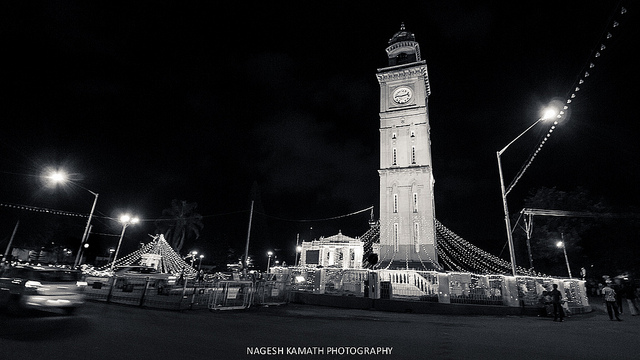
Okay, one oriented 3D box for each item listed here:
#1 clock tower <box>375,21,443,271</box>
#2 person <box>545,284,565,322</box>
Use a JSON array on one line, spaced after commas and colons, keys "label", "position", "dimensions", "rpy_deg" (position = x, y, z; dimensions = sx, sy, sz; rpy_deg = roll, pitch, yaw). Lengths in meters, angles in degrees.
[{"label": "clock tower", "position": [11.708, -6.513, 54.366], "dimensions": [6.749, 37.527, 2.946], "rpy_deg": [-1, -21, 11]}, {"label": "person", "position": [17.468, 9.100, 29.061], "dimensions": [0.725, 2.586, 1.369], "rpy_deg": [-7, -23, 26]}]
